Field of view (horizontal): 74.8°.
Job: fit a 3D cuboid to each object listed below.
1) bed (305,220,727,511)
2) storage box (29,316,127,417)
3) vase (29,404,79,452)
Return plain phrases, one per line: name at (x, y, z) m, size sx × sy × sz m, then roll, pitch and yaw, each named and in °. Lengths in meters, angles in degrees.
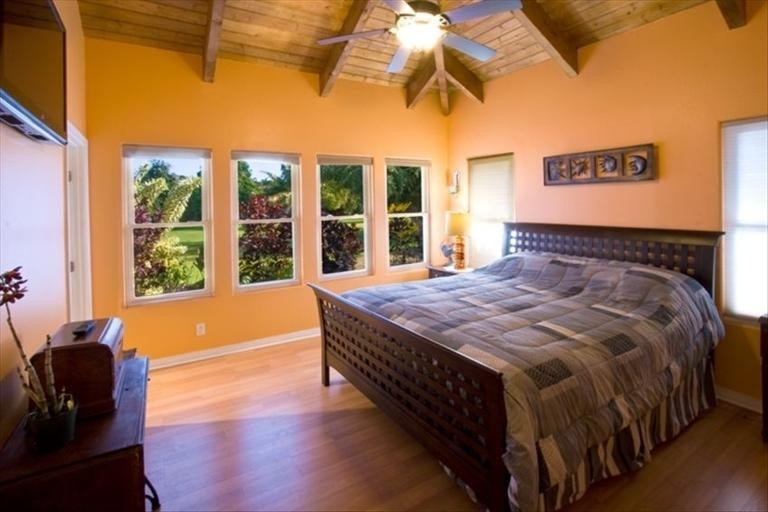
bed at (0.989, 0.629, 5.000) m, size 3.024 × 1.810 × 3.067 m, roll -6°, pitch 6°, yaw -33°
storage box at (-2.025, 0.670, 3.381) m, size 0.491 × 0.532 × 0.832 m, roll -5°, pitch 4°, yaw -30°
vase at (-2.021, 1.024, 3.041) m, size 0.280 × 0.228 × 0.297 m, roll -13°, pitch -14°, yaw 15°
